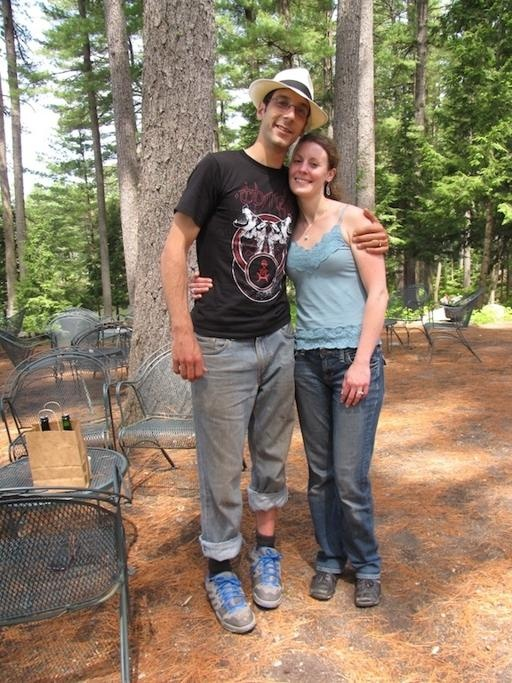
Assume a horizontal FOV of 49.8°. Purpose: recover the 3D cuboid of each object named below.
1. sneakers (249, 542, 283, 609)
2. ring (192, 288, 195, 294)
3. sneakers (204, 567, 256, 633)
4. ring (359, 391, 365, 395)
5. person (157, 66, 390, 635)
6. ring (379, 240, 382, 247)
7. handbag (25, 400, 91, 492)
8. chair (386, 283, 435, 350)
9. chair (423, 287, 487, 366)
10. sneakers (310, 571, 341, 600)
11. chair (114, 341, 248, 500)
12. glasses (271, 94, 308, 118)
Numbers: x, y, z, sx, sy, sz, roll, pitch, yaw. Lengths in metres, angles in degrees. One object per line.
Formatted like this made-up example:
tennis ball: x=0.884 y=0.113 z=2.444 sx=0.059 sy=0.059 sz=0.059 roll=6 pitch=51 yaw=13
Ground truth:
sneakers: x=0.043 y=0.969 z=2.275 sx=0.090 sy=0.092 sz=0.238 roll=-1 pitch=7 yaw=-5
ring: x=-0.237 y=-0.192 z=2.107 sx=0.018 sy=0.018 sz=0.019 roll=-1 pitch=-10 yaw=0
sneakers: x=-0.101 y=1.005 z=2.180 sx=0.102 sy=0.104 sz=0.269 roll=-7 pitch=12 yaw=-18
ring: x=0.400 y=0.192 z=2.082 sx=0.014 sy=0.018 sz=0.006 roll=-4 pitch=5 yaw=-10
person: x=-0.052 y=0.006 z=2.189 sx=0.340 sy=2.109 sz=0.669 roll=5 pitch=14 yaw=37
ring: x=0.460 y=-0.362 z=2.044 sx=0.015 sy=0.018 sz=0.007 roll=5 pitch=5 yaw=6
handbag: x=-0.774 y=0.436 z=2.079 sx=0.197 sy=0.294 sz=0.109 roll=1 pitch=-25 yaw=-38
chair: x=3.560 y=-0.639 z=13.061 sx=0.903 sy=1.134 sz=0.860 roll=0 pitch=4 yaw=30
chair: x=2.964 y=-0.234 z=8.368 sx=0.950 sy=0.983 sz=0.934 roll=-1 pitch=2 yaw=39
sneakers: x=0.276 y=1.007 z=2.273 sx=0.056 sy=0.060 sz=0.148 roll=1 pitch=-7 yaw=16
chair: x=-0.628 y=0.417 z=3.504 sx=0.957 sy=1.108 sz=0.888 roll=1 pitch=1 yaw=3
glasses: x=0.136 y=-0.911 z=2.134 sx=0.097 sy=0.031 sz=0.097 roll=16 pitch=-3 yaw=-14
